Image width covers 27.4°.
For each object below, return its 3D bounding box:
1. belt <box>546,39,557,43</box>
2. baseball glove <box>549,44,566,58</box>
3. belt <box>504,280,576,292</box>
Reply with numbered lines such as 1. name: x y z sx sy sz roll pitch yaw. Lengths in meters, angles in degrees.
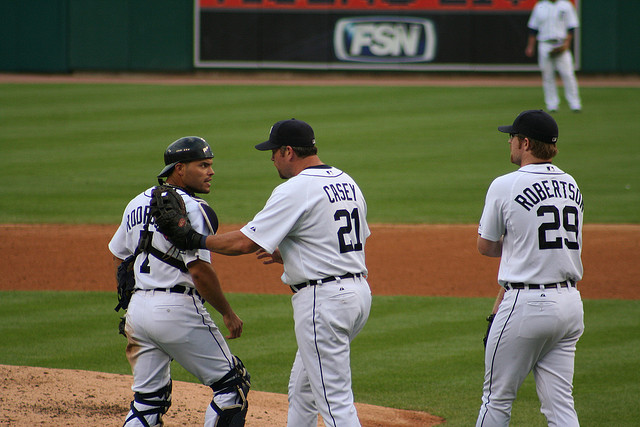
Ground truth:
1. belt: 5.732 -4.227 32.332 0.239 0.075 0.060 -3 6 -20
2. baseball glove: 5.867 -3.985 32.378 0.395 0.312 0.290 0 6 9
3. belt: 3.750 1.213 22.367 1.195 0.146 0.144 -1 6 2
